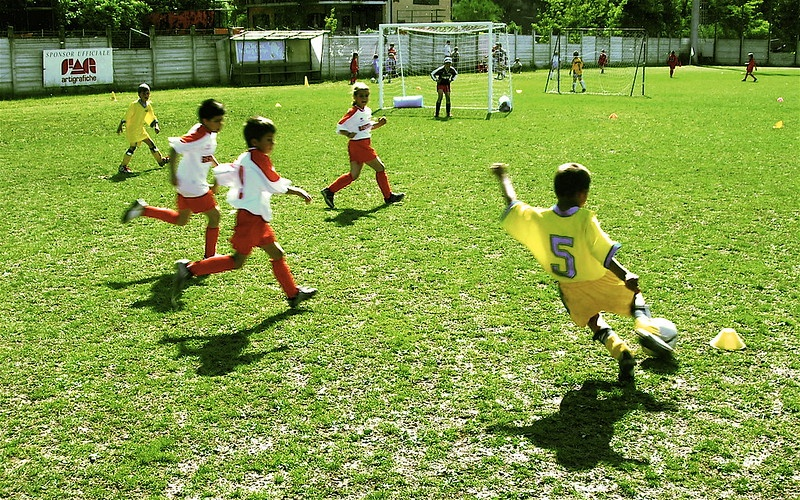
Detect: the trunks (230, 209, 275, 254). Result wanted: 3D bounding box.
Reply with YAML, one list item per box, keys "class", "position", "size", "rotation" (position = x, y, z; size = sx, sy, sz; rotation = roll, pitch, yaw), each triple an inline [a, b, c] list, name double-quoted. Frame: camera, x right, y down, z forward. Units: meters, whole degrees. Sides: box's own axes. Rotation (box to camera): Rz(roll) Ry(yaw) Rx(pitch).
- class: "trunks"
  position: [-2.032, -0.247, 12.116]
  size: [0.659, 0.565, 0.333]
  rotation: [-12, 6, -17]

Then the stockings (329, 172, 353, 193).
- class: "stockings"
  position: [-1.037, -1.192, 15.593]
  size: [0.465, 0.249, 0.166]
  rotation: [-34, 16, 3]

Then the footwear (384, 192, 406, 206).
- class: "footwear"
  position: [-0.071, -0.940, 15.734]
  size: [0.410, 0.187, 0.143]
  rotation: [-20, 40, 3]

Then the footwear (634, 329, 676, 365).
- class: "footwear"
  position: [3.187, 1.188, 10.985]
  size: [0.499, 0.289, 0.424]
  rotation: [28, 4, -22]

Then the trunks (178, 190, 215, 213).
- class: "trunks"
  position: [-3.017, -0.692, 13.052]
  size: [0.615, 0.389, 0.322]
  rotation: [-1, 13, -3]

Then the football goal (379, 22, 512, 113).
- class: "football goal"
  position: [1.499, -7.591, 35.656]
  size: [4.611, 2.854, 2.257]
  rotation: [-2, 9, 3]

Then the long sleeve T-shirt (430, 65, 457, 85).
- class: "long sleeve T-shirt"
  position: [1.240, -5.010, 25.150]
  size: [0.412, 0.518, 0.761]
  rotation: [-12, 18, -33]

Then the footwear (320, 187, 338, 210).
- class: "footwear"
  position: [-1.286, -0.936, 15.620]
  size: [0.207, 0.373, 0.386]
  rotation: [-3, 15, -4]

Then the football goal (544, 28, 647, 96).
- class: "football goal"
  position: [9.347, -9.849, 46.458]
  size: [3.917, 3.993, 6.439]
  rotation: [-10, 17, -37]

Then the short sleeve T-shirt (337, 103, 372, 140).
- class: "short sleeve T-shirt"
  position: [-0.765, -2.245, 15.521]
  size: [0.679, 0.592, 0.264]
  rotation: [-14, 19, -39]

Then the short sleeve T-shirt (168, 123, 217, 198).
- class: "short sleeve T-shirt"
  position: [-3.029, -1.280, 13.056]
  size: [0.537, 1.083, 1.182]
  rotation: [-1, -3, 21]

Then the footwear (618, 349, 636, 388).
- class: "footwear"
  position: [2.766, 1.452, 10.787]
  size: [0.173, 0.395, 0.316]
  rotation: [-1, 7, 28]

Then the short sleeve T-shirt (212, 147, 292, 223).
- class: "short sleeve T-shirt"
  position: [-2.030, -0.887, 12.033]
  size: [0.986, 0.980, 0.450]
  rotation: [-3, 15, -3]
